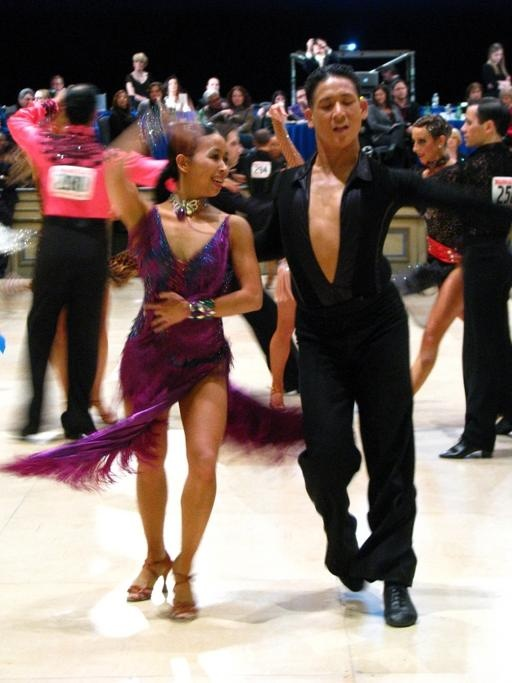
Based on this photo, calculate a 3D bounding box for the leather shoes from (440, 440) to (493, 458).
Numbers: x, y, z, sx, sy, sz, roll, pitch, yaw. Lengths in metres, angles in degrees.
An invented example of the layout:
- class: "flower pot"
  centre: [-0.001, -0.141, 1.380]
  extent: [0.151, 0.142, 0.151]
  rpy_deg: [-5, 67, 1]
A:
- class: "leather shoes"
  centre: [1.152, 0.611, 3.517]
  extent: [0.329, 0.101, 0.105]
  rpy_deg: [3, -4, 3]

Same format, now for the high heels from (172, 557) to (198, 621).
- class: "high heels"
  centre: [-0.215, 0.692, 1.795]
  extent: [0.067, 0.075, 0.183]
  rpy_deg: [-3, 45, -6]
